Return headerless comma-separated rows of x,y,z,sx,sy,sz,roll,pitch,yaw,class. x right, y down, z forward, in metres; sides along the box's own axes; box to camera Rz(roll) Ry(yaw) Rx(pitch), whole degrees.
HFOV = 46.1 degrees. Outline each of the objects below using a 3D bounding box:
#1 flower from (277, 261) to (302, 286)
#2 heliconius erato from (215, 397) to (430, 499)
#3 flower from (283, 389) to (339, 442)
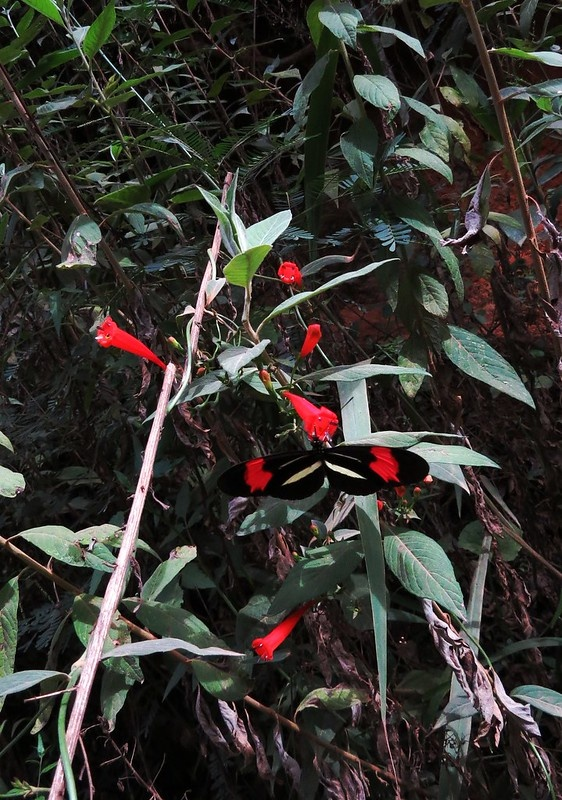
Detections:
0.014,-0.145,0.763,0.028,0.025,0.032,-6,106,11,flower
0.036,0.066,0.596,0.175,0.116,0.035,-1,69,2,heliconius erato
0.011,0.016,0.646,0.064,0.107,0.041,7,88,-15,flower
